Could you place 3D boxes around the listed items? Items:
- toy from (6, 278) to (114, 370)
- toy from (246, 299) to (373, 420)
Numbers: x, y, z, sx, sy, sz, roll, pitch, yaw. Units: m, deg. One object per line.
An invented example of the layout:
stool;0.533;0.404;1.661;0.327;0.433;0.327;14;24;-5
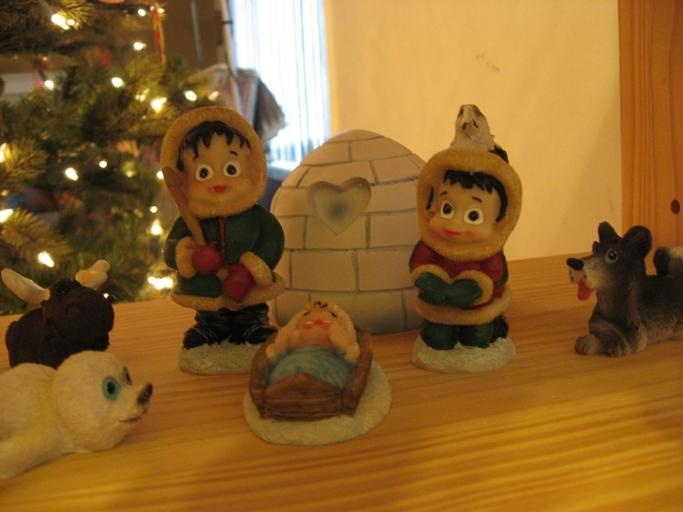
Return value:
toy;-0.852;0.206;2.024;0.307;0.210;0.218;-8;18;10
toy;-0.078;0.292;2.001;0.327;0.166;0.477;3;21;10
